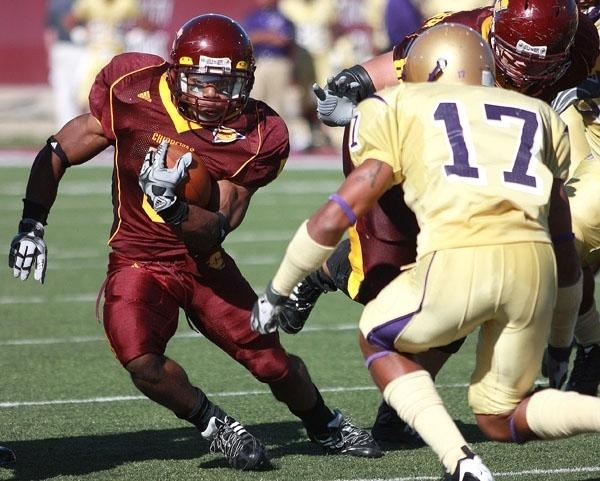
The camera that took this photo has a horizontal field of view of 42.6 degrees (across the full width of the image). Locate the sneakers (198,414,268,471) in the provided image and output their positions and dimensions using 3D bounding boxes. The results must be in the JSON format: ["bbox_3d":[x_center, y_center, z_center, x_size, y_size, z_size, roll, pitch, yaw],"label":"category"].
[{"bbox_3d":[-0.274,0.828,3.267,0.345,0.142,0.165,34,1,21],"label":"sneakers"}]

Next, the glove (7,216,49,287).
[{"bbox_3d":[-1.222,0.054,3.478,0.208,0.273,0.099,7,-19,-12],"label":"glove"}]

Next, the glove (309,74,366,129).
[{"bbox_3d":[0.184,-0.620,3.556,0.214,0.250,0.104,21,-24,16],"label":"glove"}]

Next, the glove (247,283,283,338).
[{"bbox_3d":[-0.131,0.261,2.826,0.081,0.179,0.115,0,36,-44],"label":"glove"}]

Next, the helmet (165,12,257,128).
[{"bbox_3d":[-0.361,-0.743,3.376,0.411,0.361,0.466,1,40,-8],"label":"helmet"}]

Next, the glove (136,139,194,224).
[{"bbox_3d":[-0.538,-0.237,3.092,0.231,0.287,0.088,1,-22,4],"label":"glove"}]

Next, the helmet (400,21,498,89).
[{"bbox_3d":[0.526,-0.654,2.883,0.331,0.215,0.249,12,-26,1],"label":"helmet"}]

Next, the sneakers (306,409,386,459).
[{"bbox_3d":[0.226,0.883,3.513,0.409,0.157,0.140,19,28,2],"label":"sneakers"}]
